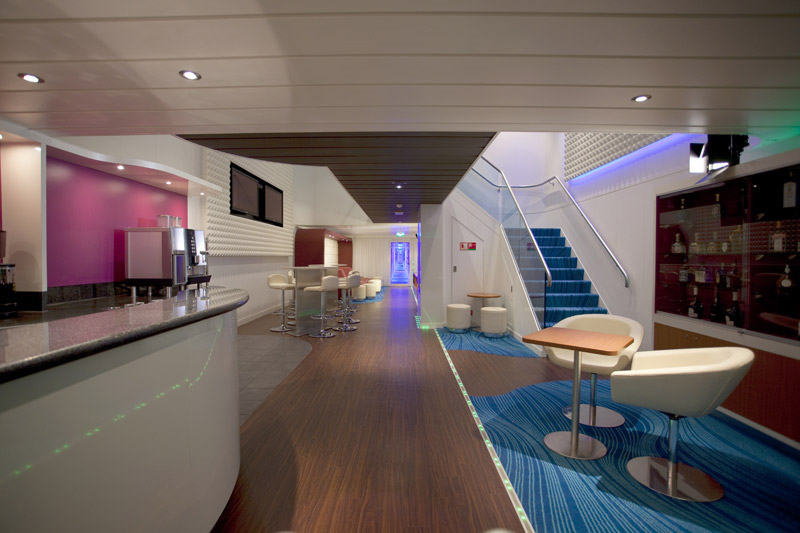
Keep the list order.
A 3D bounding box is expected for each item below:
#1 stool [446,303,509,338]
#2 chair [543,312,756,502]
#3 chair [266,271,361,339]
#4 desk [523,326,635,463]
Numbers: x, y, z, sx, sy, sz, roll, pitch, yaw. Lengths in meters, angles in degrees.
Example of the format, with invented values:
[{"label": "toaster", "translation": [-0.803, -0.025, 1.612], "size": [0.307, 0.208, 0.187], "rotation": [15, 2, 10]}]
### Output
[{"label": "stool", "translation": [1.367, 0.951, 8.656], "size": [1.079, 0.511, 0.540], "rotation": [3, 5, 27]}, {"label": "chair", "translation": [2.372, 1.320, 4.793], "size": [1.785, 1.386, 1.133], "rotation": [0, 1, 42]}, {"label": "chair", "translation": [-1.659, 0.704, 9.419], "size": [1.227, 1.144, 1.647], "rotation": [1, 0, 17]}, {"label": "desk", "translation": [1.629, 1.184, 4.928], "size": [1.062, 1.375, 1.086], "rotation": [-1, 4, -35]}]
